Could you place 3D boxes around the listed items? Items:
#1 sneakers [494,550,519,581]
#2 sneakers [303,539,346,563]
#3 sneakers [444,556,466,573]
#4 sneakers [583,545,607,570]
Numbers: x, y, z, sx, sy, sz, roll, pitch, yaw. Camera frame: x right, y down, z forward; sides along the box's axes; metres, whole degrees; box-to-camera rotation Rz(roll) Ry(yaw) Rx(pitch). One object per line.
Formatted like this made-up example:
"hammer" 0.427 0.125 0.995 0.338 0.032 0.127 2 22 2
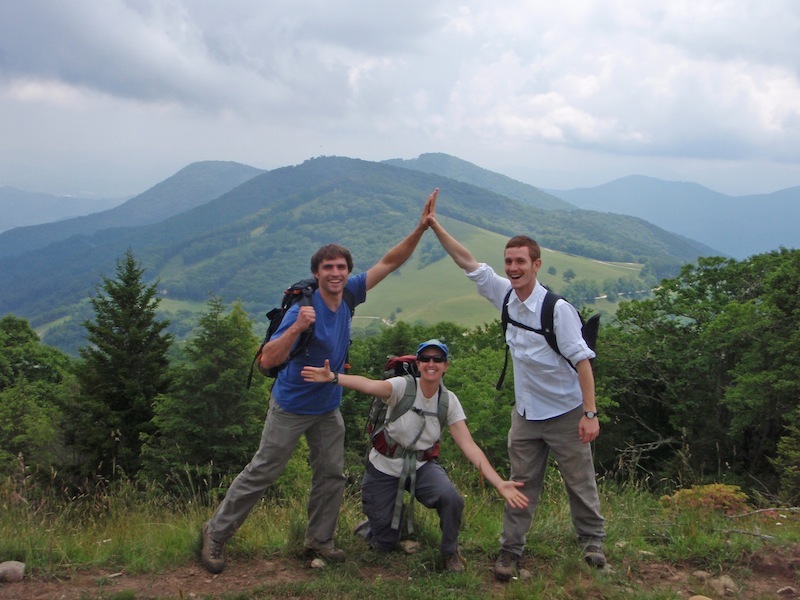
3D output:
"sneakers" 1.312 3.285 8.052 0.267 0.308 0.208 0 -2 15
"sneakers" -0.936 3.170 8.270 0.577 0.241 0.222 3 -1 -3
"sneakers" 0.678 3.273 8.076 0.135 0.110 0.260 1 -17 -9
"sneakers" 2.468 3.199 8.163 0.294 0.251 0.204 0 -2 16
